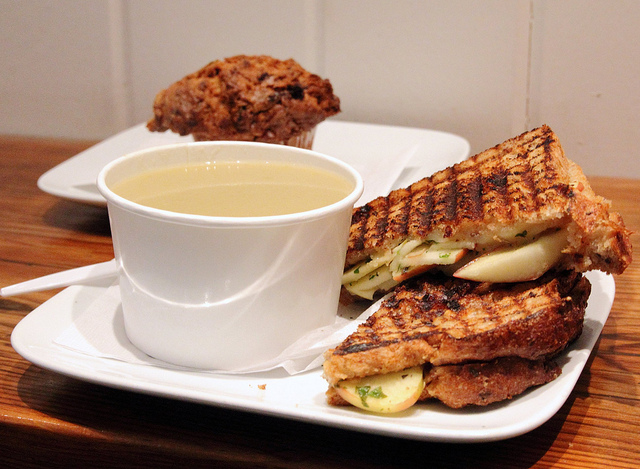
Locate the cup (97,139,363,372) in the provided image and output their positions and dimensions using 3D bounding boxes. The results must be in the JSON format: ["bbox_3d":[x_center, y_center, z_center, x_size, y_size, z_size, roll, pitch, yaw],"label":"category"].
[{"bbox_3d":[-0.167,0.054,1.071,0.468,0.268,0.470,6,10,-1],"label":"cup"}]

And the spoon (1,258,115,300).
[{"bbox_3d":[-0.512,0.088,1.066,0.234,0.025,0.036,-13,72,-27],"label":"spoon"}]

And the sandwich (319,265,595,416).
[{"bbox_3d":[0.227,0.183,0.897,0.278,0.082,0.344,-4,16,25],"label":"sandwich"}]

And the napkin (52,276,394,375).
[{"bbox_3d":[-0.253,0.187,0.956,0.294,0.030,0.279,3,15,11],"label":"napkin"}]

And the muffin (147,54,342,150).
[{"bbox_3d":[-0.196,-0.308,1.398,0.456,0.267,0.359,-13,33,-23],"label":"muffin"}]
